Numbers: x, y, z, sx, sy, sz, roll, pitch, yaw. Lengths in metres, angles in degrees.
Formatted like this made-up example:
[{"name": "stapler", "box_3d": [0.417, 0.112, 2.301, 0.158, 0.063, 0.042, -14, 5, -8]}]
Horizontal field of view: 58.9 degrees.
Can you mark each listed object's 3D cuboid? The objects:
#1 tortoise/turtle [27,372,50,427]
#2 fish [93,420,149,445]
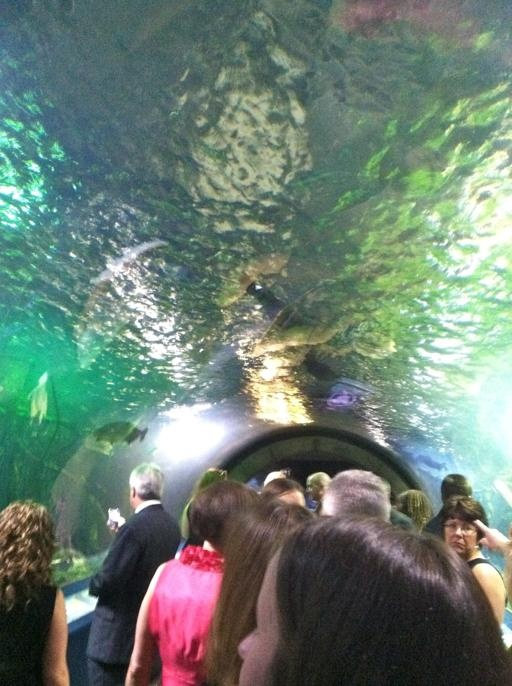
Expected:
[{"name": "tortoise/turtle", "box_3d": [-2.304, 0.594, 4.879, 0.224, 0.549, 0.270, 4, 10, -4]}, {"name": "fish", "box_3d": [-1.898, 1.268, 6.458, 0.331, 0.323, 0.977, -1, -15, 16]}]
